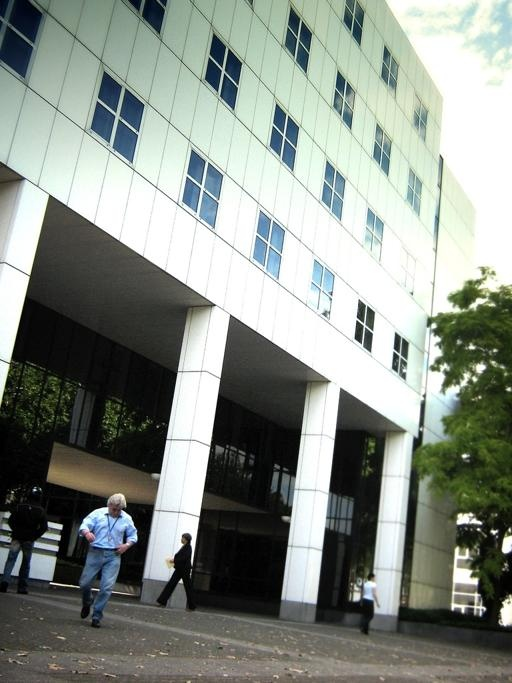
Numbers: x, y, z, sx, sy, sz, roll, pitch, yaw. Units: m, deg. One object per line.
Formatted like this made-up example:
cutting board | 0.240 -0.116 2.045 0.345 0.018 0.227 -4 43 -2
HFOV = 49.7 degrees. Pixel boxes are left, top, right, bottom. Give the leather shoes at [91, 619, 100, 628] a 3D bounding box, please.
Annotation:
leather shoes | -1.863 3.270 6.413 0.059 0.082 0.175 5 -7 -1

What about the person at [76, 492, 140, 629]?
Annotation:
person | -1.853 2.644 6.744 0.668 1.520 0.799 11 -15 -12
